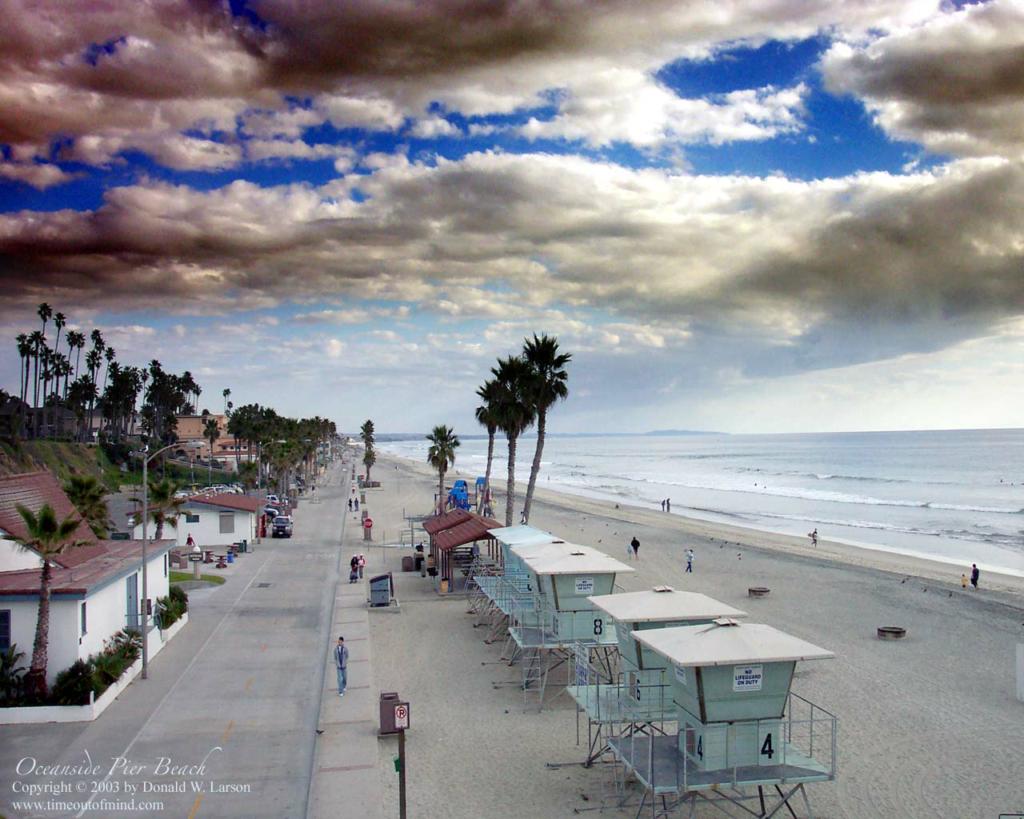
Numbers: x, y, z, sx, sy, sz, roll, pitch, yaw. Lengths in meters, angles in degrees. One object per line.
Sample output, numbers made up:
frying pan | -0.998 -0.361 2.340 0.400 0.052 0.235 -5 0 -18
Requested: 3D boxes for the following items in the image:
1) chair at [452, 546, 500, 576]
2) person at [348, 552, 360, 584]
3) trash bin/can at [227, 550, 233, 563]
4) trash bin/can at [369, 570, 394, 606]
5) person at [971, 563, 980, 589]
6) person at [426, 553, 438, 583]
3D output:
chair | -2.091 8.287 45.495 1.471 1.321 2.734 0 -6 -1
person | -8.865 8.845 46.520 0.546 1.369 1.598 2 0 -11
trash bin/can | -17.457 9.035 51.398 0.506 0.753 0.518 0 -3 1
trash bin/can | -6.432 8.665 40.611 1.298 1.588 1.633 2 -4 -4
person | 26.540 9.561 47.871 0.381 1.268 2.189 3 0 29
person | -4.840 9.301 49.635 0.587 1.125 2.279 2 0 -6
